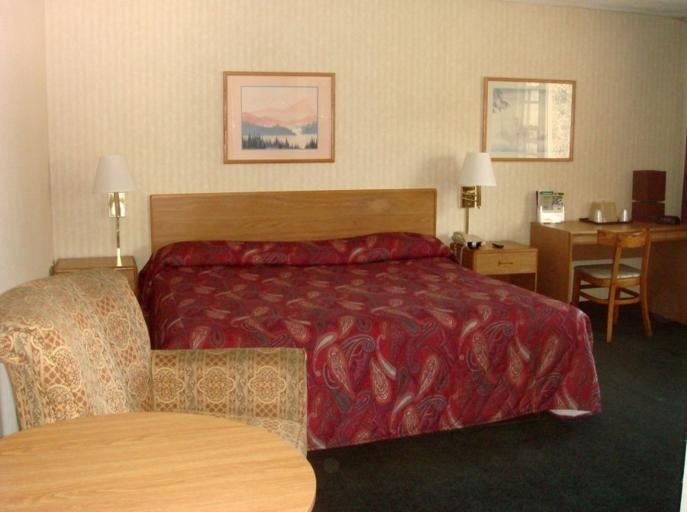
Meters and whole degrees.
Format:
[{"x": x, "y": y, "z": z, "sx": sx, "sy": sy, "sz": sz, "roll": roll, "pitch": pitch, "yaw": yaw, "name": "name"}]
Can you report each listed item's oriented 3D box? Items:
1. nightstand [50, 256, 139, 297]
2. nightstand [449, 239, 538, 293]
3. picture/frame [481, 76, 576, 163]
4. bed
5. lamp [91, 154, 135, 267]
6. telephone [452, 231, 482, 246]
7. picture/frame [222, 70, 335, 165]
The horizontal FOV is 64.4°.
[{"x": -1.920, "y": 0.119, "z": 4.236, "sx": 0.602, "sy": 0.366, "sz": 0.309, "roll": 8, "pitch": 3, "yaw": -20, "name": "nightstand"}, {"x": 1.429, "y": 0.193, "z": 4.869, "sx": 0.567, "sy": 0.434, "sz": 0.409, "roll": -1, "pitch": 6, "yaw": 13, "name": "nightstand"}, {"x": 1.746, "y": -1.234, "z": 5.158, "sx": 1.118, "sy": 0.759, "sz": 0.041, "roll": -6, "pitch": 12, "yaw": -26, "name": "picture/frame"}, {"x": 0.055, "y": 0.351, "z": 3.774, "sx": 2.390, "sy": 0.853, "sz": 1.965, "roll": -2, "pitch": 11, "yaw": -14, "name": "bed"}, {"x": -1.746, "y": -0.330, "z": 4.199, "sx": 0.273, "sy": 0.809, "sz": 0.536, "roll": -6, "pitch": 15, "yaw": -20, "name": "lamp"}, {"x": 1.099, "y": -0.135, "z": 4.865, "sx": 0.156, "sy": 0.066, "sz": 0.189, "roll": 0, "pitch": 5, "yaw": -14, "name": "telephone"}, {"x": -0.539, "y": -1.109, "z": 4.662, "sx": 1.167, "sy": 0.755, "sz": 0.044, "roll": 9, "pitch": 16, "yaw": 28, "name": "picture/frame"}]
